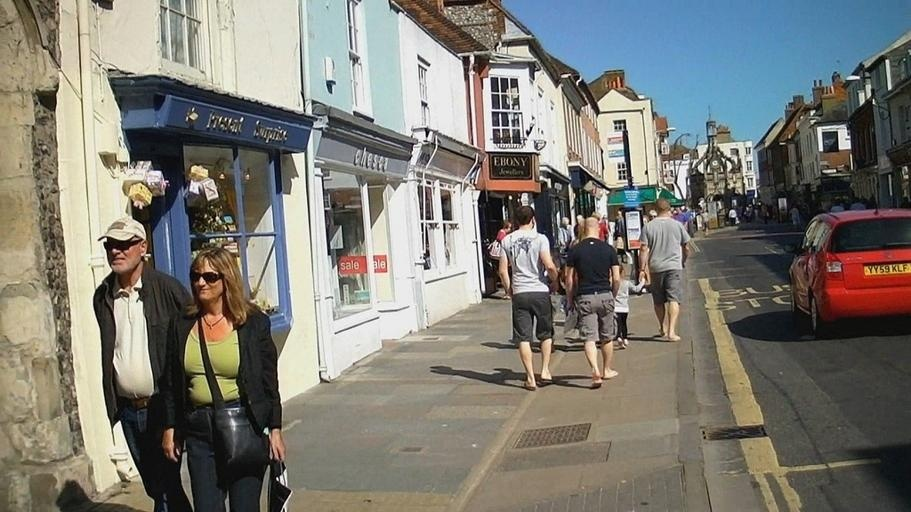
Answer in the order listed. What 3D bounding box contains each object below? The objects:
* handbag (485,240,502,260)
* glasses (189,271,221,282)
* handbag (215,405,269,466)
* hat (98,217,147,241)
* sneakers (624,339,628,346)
[{"bbox_3d":[1.046,-0.132,19.073,0.346,0.482,0.469,0,5,0],"label":"handbag"},{"bbox_3d":[-2.399,0.201,6.859,0.316,0.117,0.053,-4,8,2],"label":"glasses"},{"bbox_3d":[-2.058,1.704,6.791,0.502,0.525,0.192,-9,-12,-24],"label":"handbag"},{"bbox_3d":[-3.374,-0.290,7.360,0.300,0.211,0.409,-7,-13,13],"label":"hat"},{"bbox_3d":[3.208,1.615,13.367,0.068,0.088,0.215,0,9,14],"label":"sneakers"}]
